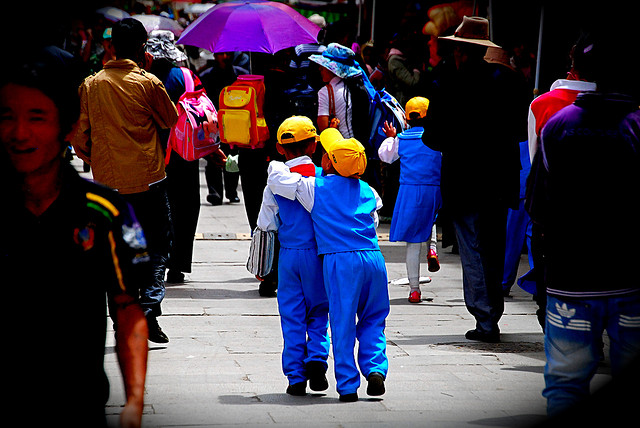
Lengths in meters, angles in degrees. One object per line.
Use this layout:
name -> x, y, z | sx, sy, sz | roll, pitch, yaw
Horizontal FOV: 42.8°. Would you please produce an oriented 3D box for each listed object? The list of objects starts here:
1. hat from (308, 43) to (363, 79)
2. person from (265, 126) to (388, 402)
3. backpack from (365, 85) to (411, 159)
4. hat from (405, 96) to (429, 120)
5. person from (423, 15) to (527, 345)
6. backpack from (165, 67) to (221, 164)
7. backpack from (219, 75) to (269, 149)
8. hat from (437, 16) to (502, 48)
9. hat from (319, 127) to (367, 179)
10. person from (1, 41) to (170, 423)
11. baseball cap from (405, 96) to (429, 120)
hat -> 0.182, -1.692, 8.960 | 0.465, 0.207, 0.442 | 10, 19, -8
person -> 0.171, 0.370, 5.740 | 0.623, 1.770, 0.823 | -5, 12, -35
backpack -> 0.792, -1.066, 9.619 | 0.507, 0.874, 0.830 | 3, 10, 5
hat -> 1.043, -1.188, 8.895 | 0.232, 0.181, 0.321 | 3, 32, 34
person -> 1.350, -0.225, 7.209 | 0.805, 2.645, 0.630 | 3, 10, 7
backpack -> -1.225, -1.000, 8.080 | 0.459, 0.883, 0.530 | 2, 10, 0
backpack -> -0.801, -1.084, 8.606 | 0.543, 0.771, 0.404 | -2, 11, -23
hat -> 1.405, -1.721, 7.547 | 0.593, 0.224, 0.451 | 19, 27, 30
hat -> 0.163, -0.468, 5.900 | 0.276, 0.399, 0.227 | -14, -14, -34
person -> -0.959, 0.074, 3.242 | 0.561, 1.451, 0.452 | 0, 10, -11
baseball cap -> 1.066, -1.202, 8.914 | 0.234, 0.184, 0.326 | 4, 34, 35
